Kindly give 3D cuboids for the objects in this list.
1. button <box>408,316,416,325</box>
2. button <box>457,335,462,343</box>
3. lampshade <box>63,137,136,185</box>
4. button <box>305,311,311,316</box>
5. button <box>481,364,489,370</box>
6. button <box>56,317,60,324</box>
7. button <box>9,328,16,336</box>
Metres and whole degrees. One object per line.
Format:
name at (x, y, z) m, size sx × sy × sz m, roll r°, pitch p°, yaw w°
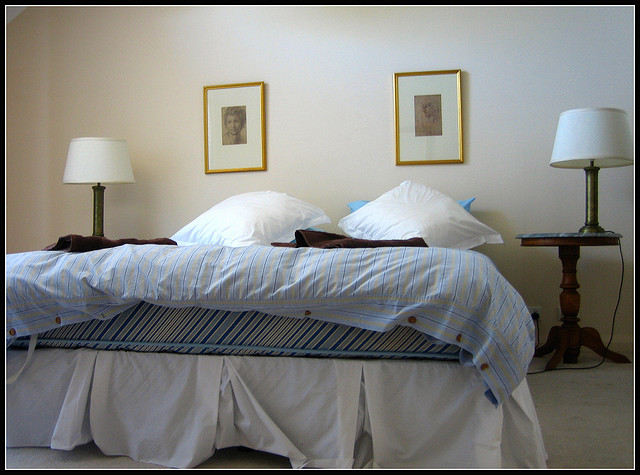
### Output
button at (0.418, 0.370, 2.718) m, size 0.034 × 0.036 × 0.008 m, roll 0°, pitch 7°, yaw 8°
button at (0.621, 0.445, 2.679) m, size 0.009 × 0.028 × 0.012 m, roll -1°, pitch -12°, yaw 12°
lampshade at (-1.616, -0.556, 4.369) m, size 0.485 × 0.326 × 0.204 m, roll -3°, pitch 7°, yaw -18°
button at (-0.056, 0.349, 2.789) m, size 0.027 × 0.018 × 0.004 m, roll 0°, pitch 7°, yaw 11°
button at (0.733, 0.570, 2.660) m, size 0.032 × 0.024 × 0.005 m, roll 1°, pitch 7°, yaw 13°
button at (-1.275, 0.397, 2.916) m, size 0.021 × 0.030 × 0.003 m, roll 4°, pitch -2°, yaw -3°
button at (-1.497, 0.456, 2.922) m, size 0.023 × 0.035 × 0.008 m, roll 0°, pitch 9°, yaw -3°
